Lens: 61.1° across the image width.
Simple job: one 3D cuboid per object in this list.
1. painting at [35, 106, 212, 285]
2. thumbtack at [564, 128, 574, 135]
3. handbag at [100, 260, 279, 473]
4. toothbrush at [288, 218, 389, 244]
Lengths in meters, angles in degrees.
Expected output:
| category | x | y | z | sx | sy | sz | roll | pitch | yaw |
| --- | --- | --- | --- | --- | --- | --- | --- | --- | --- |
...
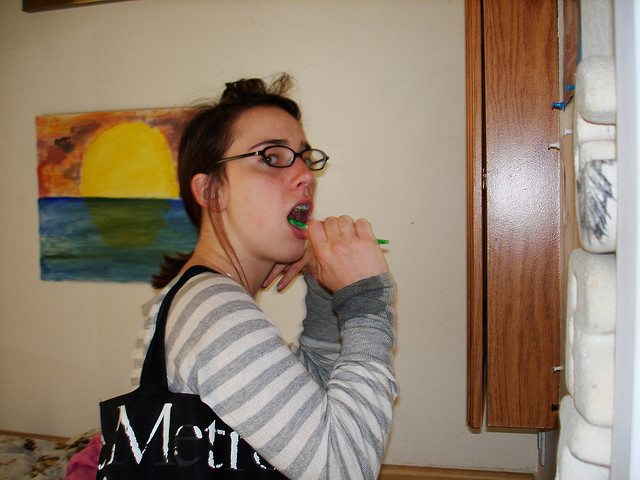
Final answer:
| category | x | y | z | sx | sy | sz | roll | pitch | yaw |
| --- | --- | --- | --- | --- | --- | --- | --- | --- | --- |
| painting | -0.816 | -0.181 | 2.267 | 0.882 | 0.687 | 0.038 | 1 | 3 | 21 |
| thumbtack | 0.564 | -0.243 | 1.234 | 0.016 | 0.007 | 0.022 | 0 | 0 | -10 |
| handbag | -0.325 | 0.319 | 1.325 | 0.413 | 0.502 | 0.146 | -1 | 1 | -19 |
| toothbrush | 0.065 | -0.025 | 1.613 | 0.339 | 0.078 | 0.144 | -1 | 0 | -16 |
